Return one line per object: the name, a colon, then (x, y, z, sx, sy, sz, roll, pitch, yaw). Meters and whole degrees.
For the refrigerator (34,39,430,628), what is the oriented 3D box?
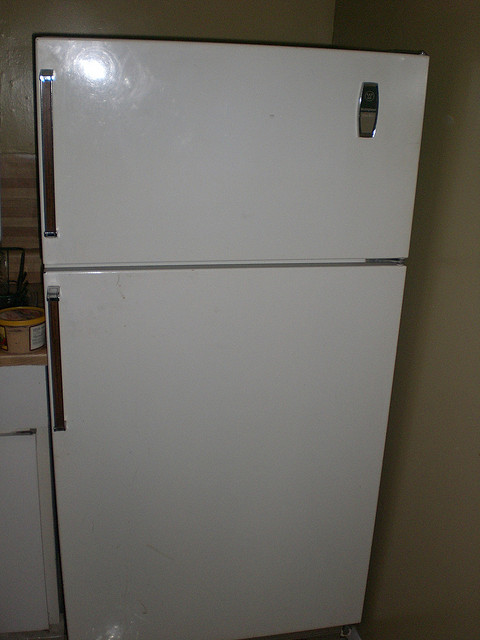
refrigerator: (-0.054, -0.008, 1.622, 0.733, 1.817, 0.630, 0, 40, -3)
